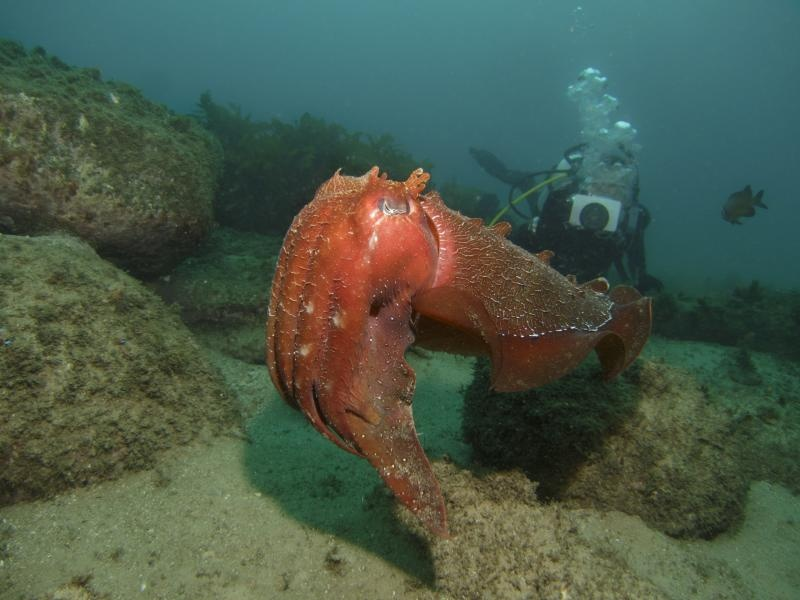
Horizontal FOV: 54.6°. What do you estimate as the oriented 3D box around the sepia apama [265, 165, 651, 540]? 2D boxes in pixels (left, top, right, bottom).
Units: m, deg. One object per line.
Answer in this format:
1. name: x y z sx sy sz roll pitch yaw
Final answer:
1. sepia apama: 0.254 0.301 5.667 2.441 1.992 1.155 10 21 -11
